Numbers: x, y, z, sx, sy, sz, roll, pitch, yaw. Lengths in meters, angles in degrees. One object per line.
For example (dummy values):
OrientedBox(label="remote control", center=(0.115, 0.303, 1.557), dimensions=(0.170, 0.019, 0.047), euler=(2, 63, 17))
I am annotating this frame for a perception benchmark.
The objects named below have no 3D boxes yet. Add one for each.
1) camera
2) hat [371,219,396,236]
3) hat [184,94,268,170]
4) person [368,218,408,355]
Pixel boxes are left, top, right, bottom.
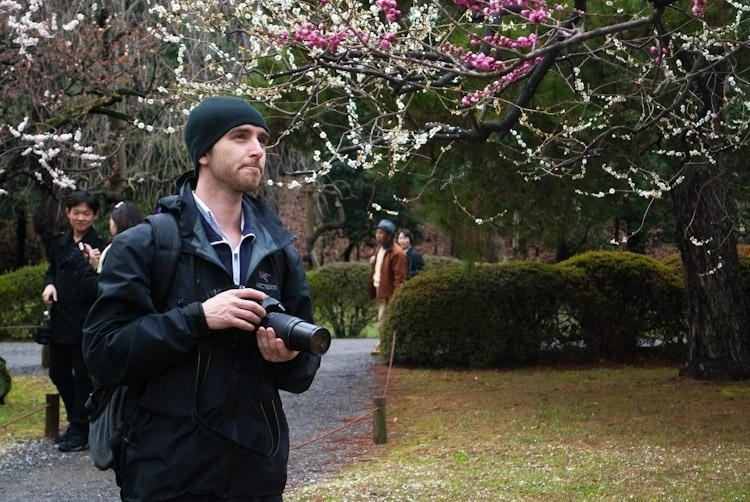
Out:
OrientedBox(label="camera", center=(-0.702, 0.581, 7.245), dimensions=(0.728, 0.355, 0.478), euler=(14, 17, 31))
OrientedBox(label="hat", center=(0.161, -0.354, 15.131), dimensions=(0.289, 0.275, 0.513), euler=(-1, 9, -1))
OrientedBox(label="hat", center=(-1.193, -1.005, 7.518), dimensions=(0.545, 0.501, 0.549), euler=(-13, -2, 0))
OrientedBox(label="person", center=(0.222, 0.658, 15.249), dimensions=(0.571, 2.312, 1.240), euler=(-1, 9, -2))
